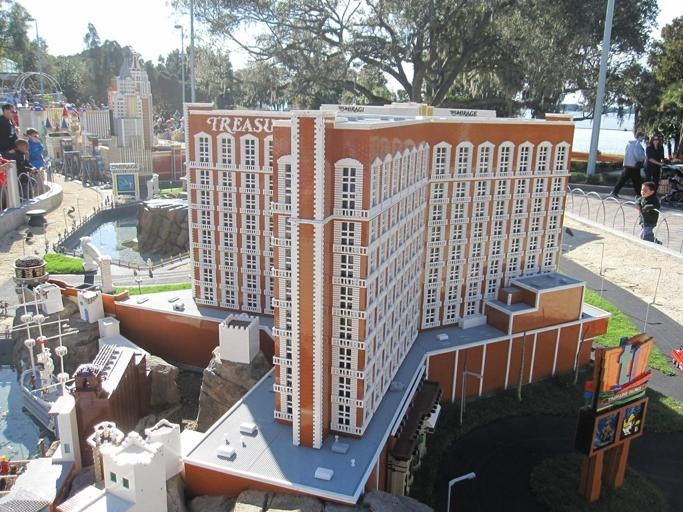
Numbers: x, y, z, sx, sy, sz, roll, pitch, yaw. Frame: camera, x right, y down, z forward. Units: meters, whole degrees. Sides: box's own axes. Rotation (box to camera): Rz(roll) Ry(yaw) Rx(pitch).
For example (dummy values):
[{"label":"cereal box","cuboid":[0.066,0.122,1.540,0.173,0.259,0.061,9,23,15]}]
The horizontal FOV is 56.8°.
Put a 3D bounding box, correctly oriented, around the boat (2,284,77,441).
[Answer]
[{"label":"boat","cuboid":[-27.835,8.989,58.458,4.608,11.518,12.868,-6,14,-28]}]
